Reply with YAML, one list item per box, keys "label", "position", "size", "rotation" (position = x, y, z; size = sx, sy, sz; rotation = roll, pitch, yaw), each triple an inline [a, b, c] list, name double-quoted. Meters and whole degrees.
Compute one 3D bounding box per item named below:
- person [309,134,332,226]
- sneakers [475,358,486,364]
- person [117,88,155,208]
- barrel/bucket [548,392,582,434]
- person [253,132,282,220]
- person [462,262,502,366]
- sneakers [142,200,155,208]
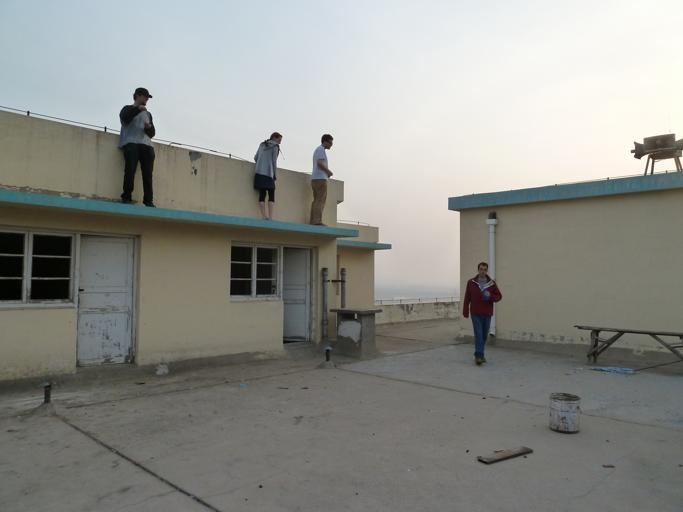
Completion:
- label: "person"
  position: [-0.466, -1.709, 11.299]
  size: [0.468, 2.006, 0.742]
  rotation: [0, 3, -4]
- label: "sneakers"
  position: [2.661, 1.972, 9.506]
  size: [0.076, 0.104, 0.222]
  rotation: [-1, -17, -9]
- label: "person"
  position: [-3.668, -1.983, 9.005]
  size: [0.582, 2.121, 0.366]
  rotation: [-1, 3, -26]
- label: "barrel/bucket"
  position: [2.721, 1.894, 6.136]
  size: [0.351, 0.425, 0.372]
  rotation: [1, 1, 0]
- label: "person"
  position: [-1.598, -1.730, 10.763]
  size: [0.575, 1.826, 0.287]
  rotation: [-1, 3, -18]
- label: "person"
  position: [2.795, 1.087, 9.870]
  size: [0.662, 1.919, 0.801]
  rotation: [0, 3, -2]
- label: "sneakers"
  position: [-3.465, -0.965, 9.015]
  size: [0.160, 0.174, 0.105]
  rotation: [1, 5, 0]
